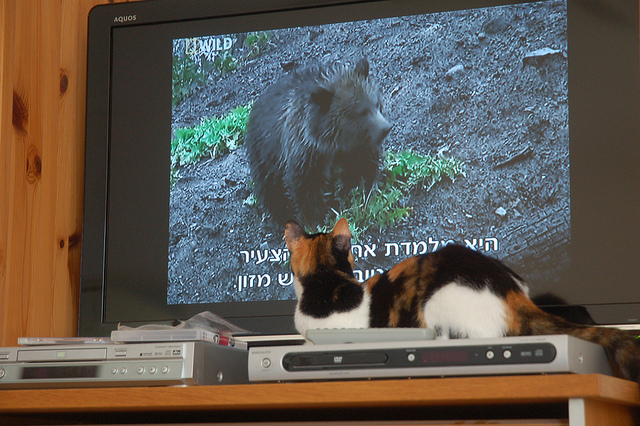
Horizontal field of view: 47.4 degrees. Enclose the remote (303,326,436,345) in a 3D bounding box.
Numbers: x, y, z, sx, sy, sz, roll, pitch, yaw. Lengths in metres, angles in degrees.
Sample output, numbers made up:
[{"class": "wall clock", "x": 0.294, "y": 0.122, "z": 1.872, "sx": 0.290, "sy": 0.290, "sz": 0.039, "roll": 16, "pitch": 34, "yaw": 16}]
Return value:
[{"class": "remote", "x": 0.132, "y": 0.320, "z": 1.893, "sx": 0.325, "sy": 0.042, "sz": 0.116, "roll": -1, "pitch": -5, "yaw": 12}]
